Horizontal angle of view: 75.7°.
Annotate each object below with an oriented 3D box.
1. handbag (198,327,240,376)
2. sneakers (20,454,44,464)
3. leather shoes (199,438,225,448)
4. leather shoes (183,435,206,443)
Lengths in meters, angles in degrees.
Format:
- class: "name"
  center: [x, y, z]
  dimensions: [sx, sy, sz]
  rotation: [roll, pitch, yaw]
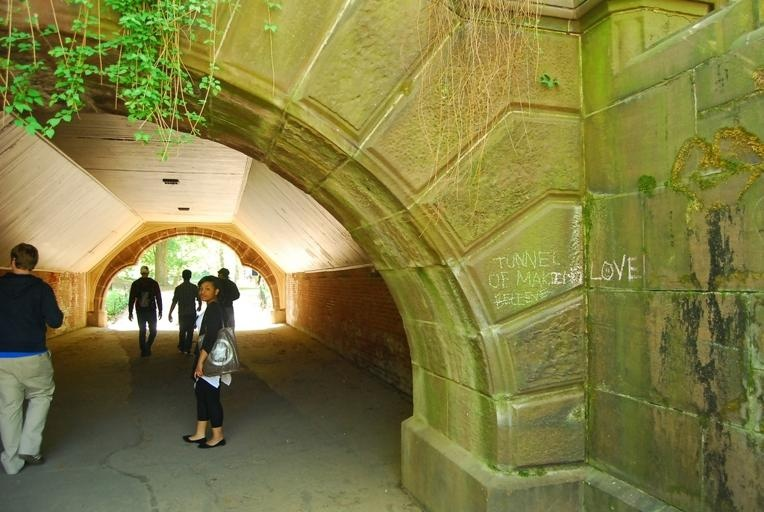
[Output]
- class: "handbag"
  center: [-1.723, 1.047, 5.350]
  dimensions: [0.196, 0.520, 0.352]
  rotation: [1, 0, 34]
- class: "sneakers"
  center: [-3.564, 2.098, 5.053]
  dimensions: [0.092, 0.089, 0.212]
  rotation: [41, 10, 32]
- class: "leather shoes"
  center: [-1.936, 2.144, 5.622]
  dimensions: [0.245, 0.061, 0.094]
  rotation: [6, -9, -18]
- class: "leather shoes"
  center: [-2.180, 2.136, 5.695]
  dimensions: [0.261, 0.066, 0.099]
  rotation: [11, -8, 3]
